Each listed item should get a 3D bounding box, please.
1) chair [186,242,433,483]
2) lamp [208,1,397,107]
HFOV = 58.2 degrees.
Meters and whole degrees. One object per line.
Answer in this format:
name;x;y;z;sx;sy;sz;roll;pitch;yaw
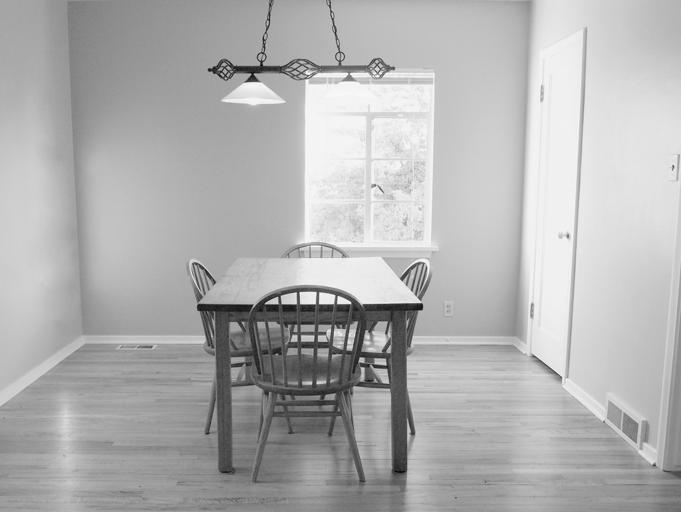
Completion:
chair;-0.172;0.600;3.879;0.913;0.918;1.582;0;3;1
lamp;-0.342;-1.694;4.989;1.183;1.266;0.366;-1;21;-7
